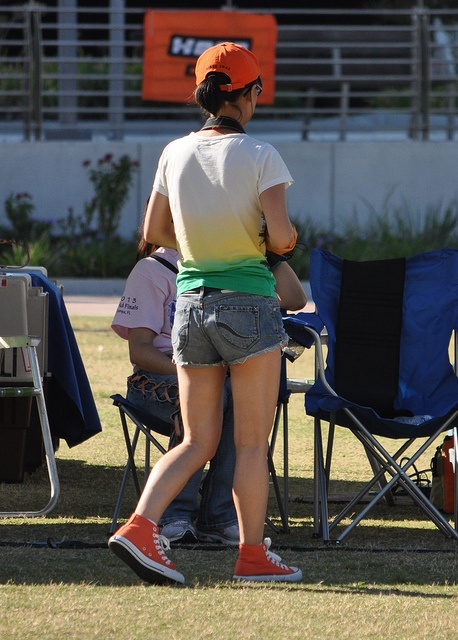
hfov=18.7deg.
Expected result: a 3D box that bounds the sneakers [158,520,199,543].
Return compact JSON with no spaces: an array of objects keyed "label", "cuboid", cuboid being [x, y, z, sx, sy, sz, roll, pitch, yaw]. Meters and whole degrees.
[{"label":"sneakers","cuboid":[-0.181,0.779,5.095,0.077,0.072,0.169,0,5,-37]}]

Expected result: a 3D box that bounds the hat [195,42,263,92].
[{"label":"hat","cuboid":[0.000,-0.881,4.724,0.200,0.153,0.280,-2,17,21]}]

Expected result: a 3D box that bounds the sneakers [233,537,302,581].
[{"label":"sneakers","cuboid":[0.114,0.807,4.666,0.258,0.154,0.102,2,-1,-21]}]

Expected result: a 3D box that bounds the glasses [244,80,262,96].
[{"label":"glasses","cuboid":[0.080,-0.782,4.688,0.015,0.049,0.048,1,15,45]}]

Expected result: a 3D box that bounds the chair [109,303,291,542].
[{"label":"chair","cuboid":[0.010,0.244,4.689,0.377,0.721,0.269,-1,11,22]}]
